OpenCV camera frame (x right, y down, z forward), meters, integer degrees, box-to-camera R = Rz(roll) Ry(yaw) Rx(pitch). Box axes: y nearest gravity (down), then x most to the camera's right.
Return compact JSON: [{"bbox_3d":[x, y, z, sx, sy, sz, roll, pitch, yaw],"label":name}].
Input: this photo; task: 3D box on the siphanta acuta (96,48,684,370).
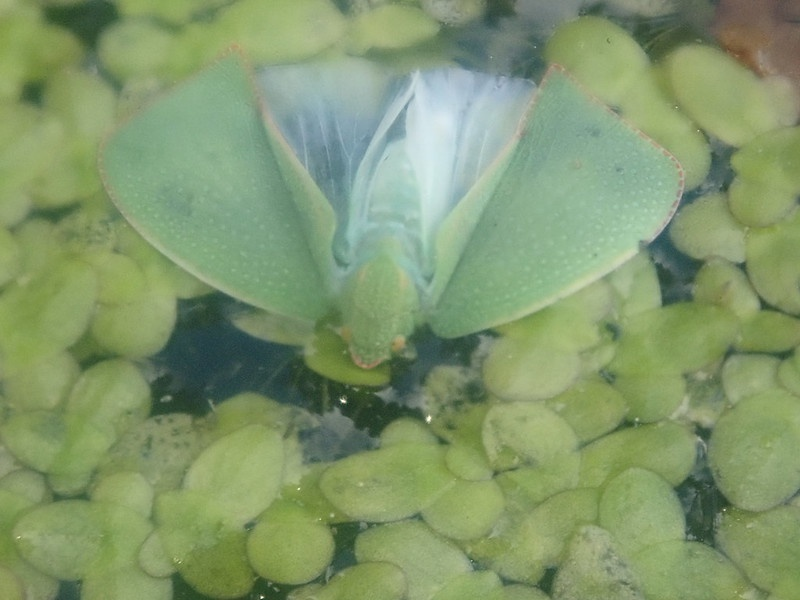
[{"bbox_3d":[-0.026,-0.293,4.029,1.982,0.297,1.111,1,76,7],"label":"siphanta acuta"}]
